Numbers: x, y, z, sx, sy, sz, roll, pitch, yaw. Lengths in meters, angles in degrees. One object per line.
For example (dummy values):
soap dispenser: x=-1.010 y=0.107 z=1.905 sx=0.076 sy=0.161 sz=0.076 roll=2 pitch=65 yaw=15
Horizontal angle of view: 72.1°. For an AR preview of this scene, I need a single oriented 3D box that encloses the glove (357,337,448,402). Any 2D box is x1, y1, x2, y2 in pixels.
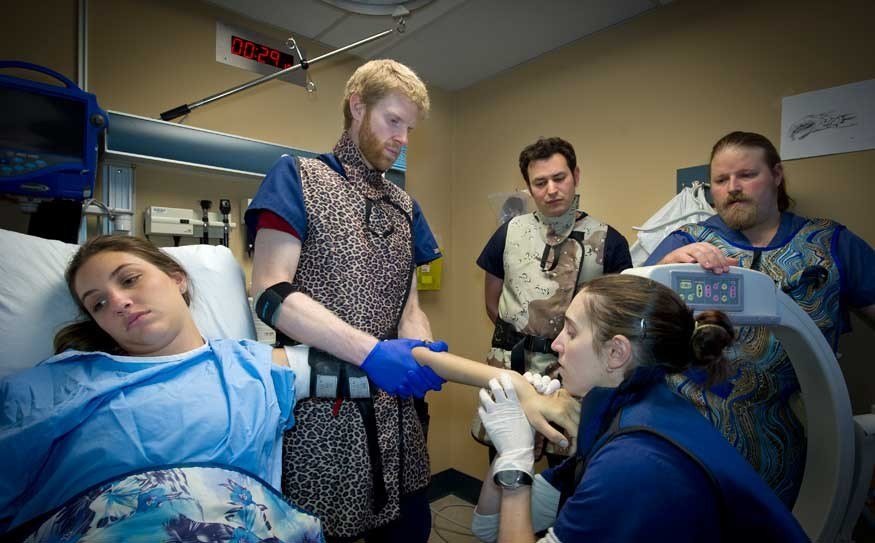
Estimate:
glove: x=-0.165 y=0.411 z=2.529 sx=0.304 sy=0.250 sz=0.128 roll=39 pitch=-9 yaw=-11
